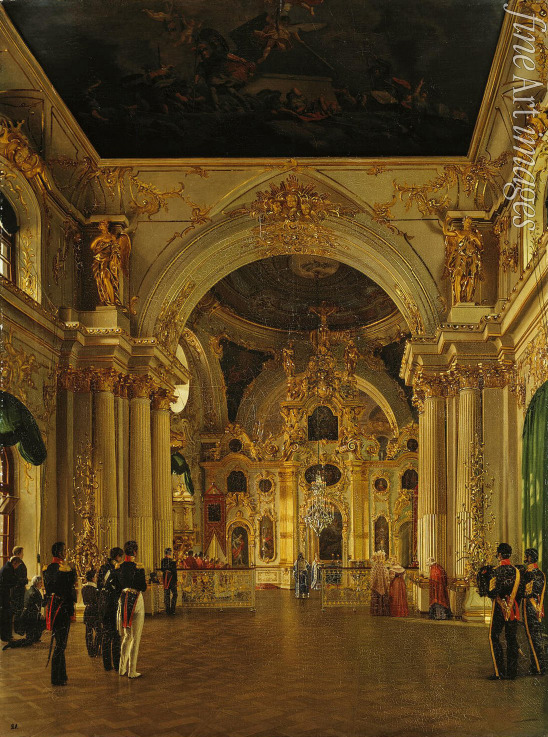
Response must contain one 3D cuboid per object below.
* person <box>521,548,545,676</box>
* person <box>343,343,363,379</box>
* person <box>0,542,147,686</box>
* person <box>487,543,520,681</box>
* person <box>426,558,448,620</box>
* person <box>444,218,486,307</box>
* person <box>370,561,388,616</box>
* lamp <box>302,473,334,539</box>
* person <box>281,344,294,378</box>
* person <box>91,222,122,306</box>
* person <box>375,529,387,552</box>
[{"bbox_3d":[2.843,2.669,10.522,0.257,1.341,0.372,-5,-16,12],"label":"person"},{"bbox_3d":[2.710,-0.258,33.363,0.602,1.447,1.272,-2,-15,4],"label":"person"},{"bbox_3d":[-1.982,2.724,10.789,1.057,1.522,1.408,1,-15,-9],"label":"person"},{"bbox_3d":[2.518,2.650,10.501,0.385,1.421,0.472,-4,-16,11],"label":"person"},{"bbox_3d":[3.221,4.371,18.919,0.399,1.144,0.652,-4,-16,9],"label":"person"},{"bbox_3d":[3.950,-2.134,20.012,0.788,1.866,0.687,-6,-16,15],"label":"person"},{"bbox_3d":[2.196,4.602,20.102,0.351,1.124,0.265,5,-17,-22],"label":"person"},{"bbox_3d":[1.699,4.710,33.278,1.270,2.180,1.296,-9,3,22],"label":"lamp"},{"bbox_3d":[0.506,-0.223,34.022,0.443,1.354,0.843,-1,-15,1],"label":"person"},{"bbox_3d":[-3.501,-2.106,20.238,0.645,1.866,0.481,2,-16,-11],"label":"person"},{"bbox_3d":[3.608,5.834,32.493,0.427,0.749,0.214,-3,-16,5],"label":"person"}]
